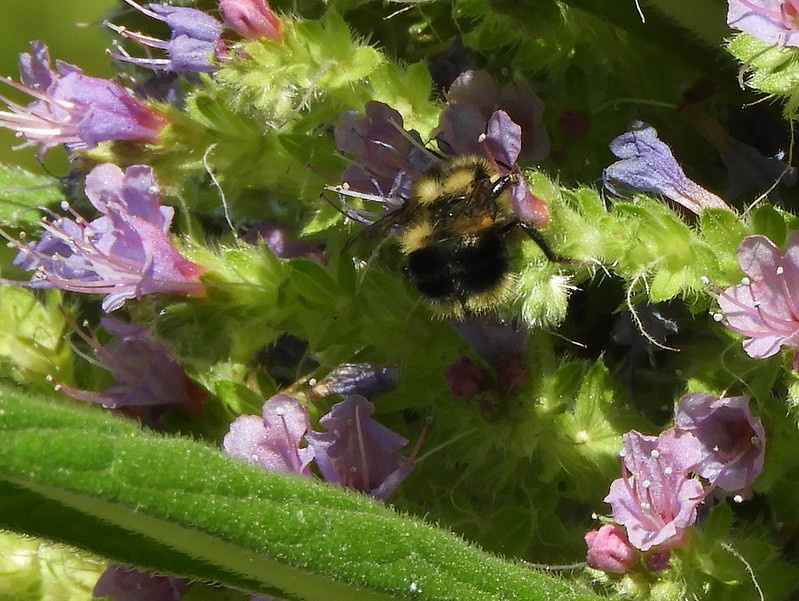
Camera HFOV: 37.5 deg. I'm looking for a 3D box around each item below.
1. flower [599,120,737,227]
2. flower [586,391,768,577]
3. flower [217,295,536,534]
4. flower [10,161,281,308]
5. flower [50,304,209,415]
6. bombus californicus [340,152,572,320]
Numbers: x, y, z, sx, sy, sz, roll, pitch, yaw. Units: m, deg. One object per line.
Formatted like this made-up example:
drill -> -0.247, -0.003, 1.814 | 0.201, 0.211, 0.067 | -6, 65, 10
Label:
flower -> 0.365, -0.169, 1.628 | 0.181, 0.098, 0.054 | 29, -12, 14
flower -> 0.381, 0.236, 1.631 | 0.167, 0.270, 0.152 | 43, 10, 23
flower -> -0.029, 0.121, 1.590 | 0.348, 0.244, 0.193 | 19, 24, 5
flower -> -0.371, -0.085, 1.669 | 0.348, 0.144, 0.195 | 13, 45, 15
flower -> -0.385, 0.104, 1.683 | 0.193, 0.060, 0.127 | 38, 61, -4
bombus californicus -> 0.116, -0.121, 1.639 | 0.326, 0.092, 0.237 | -12, -18, 7
